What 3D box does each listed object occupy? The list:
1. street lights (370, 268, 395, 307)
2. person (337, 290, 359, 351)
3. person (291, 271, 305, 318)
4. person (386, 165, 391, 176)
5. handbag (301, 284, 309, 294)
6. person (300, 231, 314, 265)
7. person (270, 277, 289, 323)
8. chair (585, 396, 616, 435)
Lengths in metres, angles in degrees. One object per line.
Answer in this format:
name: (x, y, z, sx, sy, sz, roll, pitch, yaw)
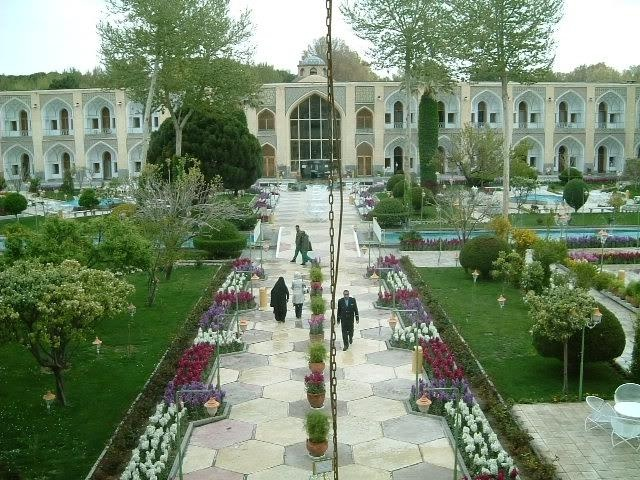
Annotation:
street lights: (1.677, 1.318, 16.290, 0.788, 0.993, 2.659, -1, 1, 6)
person: (0.572, 1.619, 12.471, 0.350, 1.279, 0.861, 0, 9, 12)
person: (-0.548, 1.322, 14.216, 0.245, 1.124, 0.494, -3, 8, -6)
person: (5.323, -5.467, 46.995, 0.542, 0.661, 0.812, -1, 8, 7)
handbag: (-0.387, 1.317, 16.009, 0.253, 0.247, 0.061, 5, 0, 24)
person: (-0.504, 0.270, 19.461, 0.355, 1.064, 0.383, -2, 8, -2)
person: (-0.983, 1.399, 14.010, 0.402, 1.055, 0.348, -4, 9, -16)
chair: (4.421, 2.766, 9.533, 0.461, 0.590, 0.447, 1, -12, -2)
